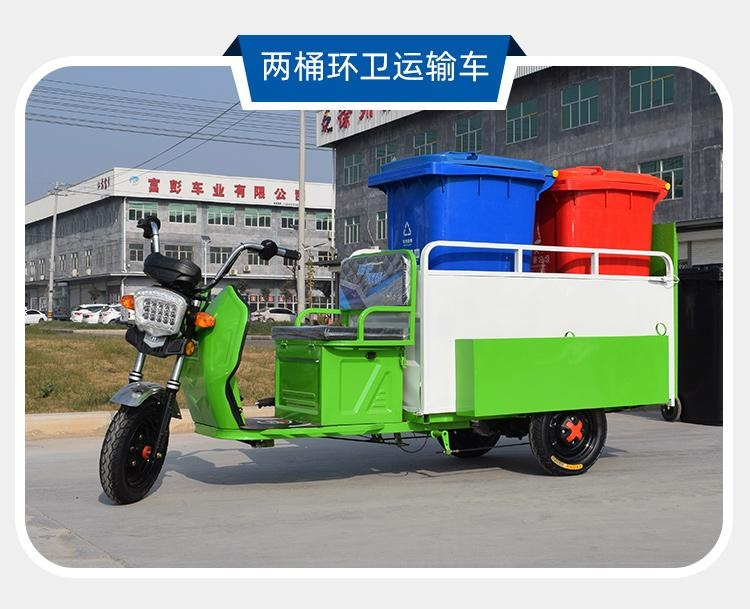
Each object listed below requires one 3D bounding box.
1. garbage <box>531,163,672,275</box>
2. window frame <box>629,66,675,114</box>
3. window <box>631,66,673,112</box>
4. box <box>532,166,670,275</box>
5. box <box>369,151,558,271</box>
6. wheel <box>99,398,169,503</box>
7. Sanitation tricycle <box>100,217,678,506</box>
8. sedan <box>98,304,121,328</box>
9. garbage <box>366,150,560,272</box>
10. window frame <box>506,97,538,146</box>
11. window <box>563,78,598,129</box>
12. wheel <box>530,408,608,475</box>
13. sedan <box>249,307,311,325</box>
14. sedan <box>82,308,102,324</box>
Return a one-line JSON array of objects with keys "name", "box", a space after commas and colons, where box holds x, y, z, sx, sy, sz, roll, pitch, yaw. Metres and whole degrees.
[{"name": "garbage", "box": [2.959, -1.023, 11.574, 1.458, 1.431, 1.251, -1, 6, -10]}, {"name": "window frame", "box": [7.946, -6.268, 25.894, 0.240, 1.344, 1.592, -3, 1, -29]}, {"name": "window", "box": [7.955, -6.230, 25.918, 0.016, 1.460, 1.375, 8, -8, -44]}, {"name": "box", "box": [2.736, -1.057, 11.555, 1.461, 1.470, 1.263, 2, 0, -16]}, {"name": "box", "box": [1.155, -1.005, 10.899, 1.688, 1.512, 2.096, 2, 11, 31]}, {"name": "wheel", "box": [-2.359, 1.474, 8.865, 0.238, 0.887, 0.962, 15, 35, 14]}, {"name": "Sanitation tricycle", "box": [0.358, 0.651, 10.994, 7.013, 3.360, 2.686, 2, -3, -19]}, {"name": "sedan", "box": [-12.234, 0.596, 41.226, 1.040, 0.979, 1.857, -1, 7, -10]}, {"name": "garbage", "box": [0.997, -0.955, 10.694, 1.655, 1.287, 1.354, 2, -2, -28]}, {"name": "window frame", "box": [5.026, -6.288, 30.857, 1.416, 1.511, 0.031, 4, -7, 42]}, {"name": "window", "box": [6.434, -6.266, 28.388, 1.811, 1.362, 0.061, -21, 26, -33]}, {"name": "wheel", "box": [2.206, 1.562, 10.332, 0.783, 0.887, 0.251, -3, 1, -29]}, {"name": "sedan", "box": [-4.532, 0.580, 41.640, 2.318, 0.796, 1.067, -3, 3, -29]}, {"name": "sedan", "box": [-13.962, 0.580, 44.323, 0.957, 0.694, 1.152, -3, 1, -19]}]
